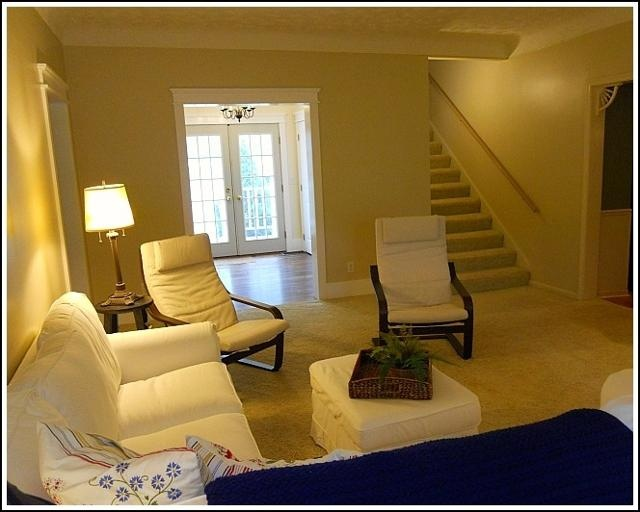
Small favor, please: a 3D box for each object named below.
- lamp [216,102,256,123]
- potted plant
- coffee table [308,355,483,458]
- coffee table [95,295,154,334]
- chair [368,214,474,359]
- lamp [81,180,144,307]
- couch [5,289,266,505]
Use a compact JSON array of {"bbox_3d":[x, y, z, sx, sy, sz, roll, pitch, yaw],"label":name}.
[{"bbox_3d":[-1.304,-2.304,7.652,0.565,0.259,1.039,-4,12,-7],"label":"lamp"},{"bbox_3d":[0.406,0.546,2.675,0.370,0.221,0.362,1,10,5],"label":"potted plant"},{"bbox_3d":[0.396,0.805,2.579,0.604,0.391,0.598,-5,13,-19],"label":"coffee table"},{"bbox_3d":[-1.504,0.448,3.660,0.342,0.370,0.349,-1,11,-8],"label":"coffee table"},{"bbox_3d":[0.866,0.208,4.349,1.093,1.504,1.206,-2,8,0],"label":"chair"},{"bbox_3d":[-1.733,-0.123,3.972,0.355,0.978,1.231,-9,14,-25],"label":"lamp"},{"bbox_3d":[-0.847,0.218,2.163,0.834,0.694,1.409,-5,13,-15],"label":"couch"}]
